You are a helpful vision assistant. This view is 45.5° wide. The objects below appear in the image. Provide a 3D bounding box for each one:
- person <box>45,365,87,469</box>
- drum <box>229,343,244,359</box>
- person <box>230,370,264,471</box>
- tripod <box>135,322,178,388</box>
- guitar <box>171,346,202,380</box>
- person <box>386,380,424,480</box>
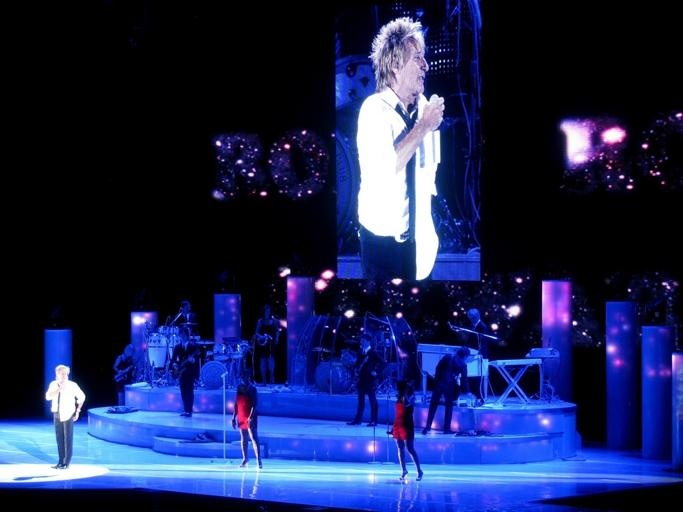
[{"bbox_3d":[-4.213,2.467,12.475,0.608,1.538,0.497,-2,-8,-15],"label":"person"},{"bbox_3d":[-2.115,1.914,16.433,0.264,0.293,0.273,0,-13,-6],"label":"drum"},{"bbox_3d":[-1.493,2.572,12.956,0.521,1.545,0.469,1,2,-1],"label":"person"},{"bbox_3d":[-3.821,2.063,17.395,0.799,1.541,0.755,-4,-2,40],"label":"tripod"},{"bbox_3d":[-2.917,1.969,15.403,0.523,0.646,0.428,1,2,6],"label":"guitar"},{"bbox_3d":[0.931,2.569,12.133,0.508,1.411,0.460,-3,-6,38],"label":"person"}]
